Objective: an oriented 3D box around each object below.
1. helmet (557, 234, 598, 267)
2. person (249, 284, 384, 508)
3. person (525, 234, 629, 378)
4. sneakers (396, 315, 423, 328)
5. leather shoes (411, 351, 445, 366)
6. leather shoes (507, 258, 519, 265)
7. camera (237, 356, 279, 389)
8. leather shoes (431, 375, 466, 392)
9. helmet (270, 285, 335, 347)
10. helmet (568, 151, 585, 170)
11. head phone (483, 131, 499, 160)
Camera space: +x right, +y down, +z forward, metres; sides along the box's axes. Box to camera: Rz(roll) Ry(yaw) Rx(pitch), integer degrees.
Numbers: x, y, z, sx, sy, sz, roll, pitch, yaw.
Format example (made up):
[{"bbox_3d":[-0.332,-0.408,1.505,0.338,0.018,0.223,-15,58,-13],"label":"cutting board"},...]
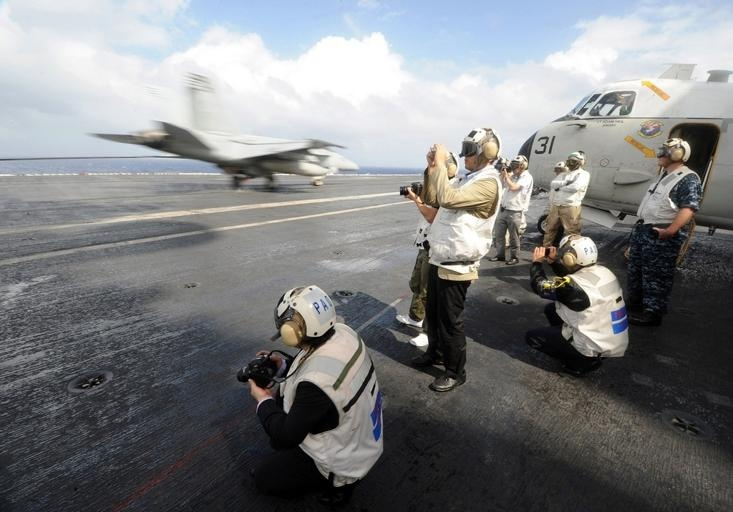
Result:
[{"bbox_3d":[2.375,-0.074,3.556,0.462,0.335,0.415,-5,26,7],"label":"helmet"},{"bbox_3d":[-0.381,1.021,2.212,1.001,1.550,0.703,1,23,2],"label":"person"},{"bbox_3d":[2.469,0.575,3.499,0.570,1.578,1.019,-20,30,-39],"label":"person"},{"bbox_3d":[0.617,0.969,4.461,0.418,0.125,0.139,7,9,35],"label":"sneakers"},{"bbox_3d":[0.734,1.252,3.649,0.383,0.105,0.162,3,-2,1],"label":"leather shoes"},{"bbox_3d":[3.418,0.122,6.978,0.338,0.094,0.128,-4,-8,37],"label":"leather shoes"},{"bbox_3d":[-0.831,0.912,2.355,0.344,0.167,0.369,-8,-7,-38],"label":"camera"},{"bbox_3d":[0.884,1.379,3.270,0.378,0.115,0.149,0,13,-18],"label":"leather shoes"},{"bbox_3d":[-0.450,0.425,2.244,0.486,0.325,0.487,-21,21,-36],"label":"helmet"},{"bbox_3d":[4.783,-2.189,6.822,0.331,0.385,0.281,11,24,24],"label":"helmet"},{"bbox_3d":[1.339,-1.199,3.191,0.168,0.322,0.189,9,24,20],"label":"head phone"}]
